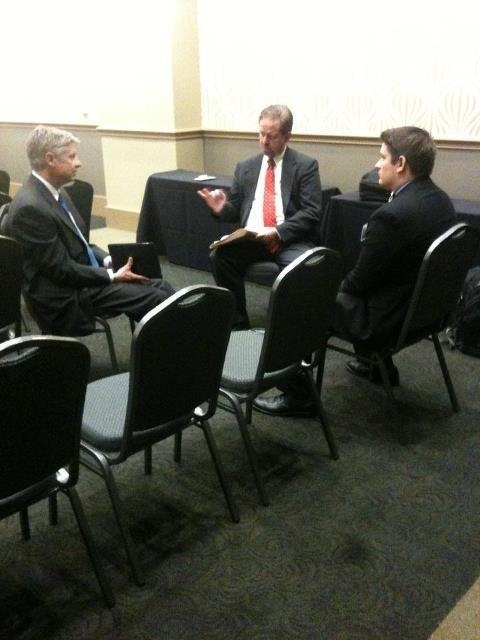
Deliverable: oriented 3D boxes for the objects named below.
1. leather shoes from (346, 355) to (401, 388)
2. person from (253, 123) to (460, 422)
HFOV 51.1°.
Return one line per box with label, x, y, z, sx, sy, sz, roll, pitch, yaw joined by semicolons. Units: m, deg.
leather shoes;0.590;0.235;2.236;0.077;0.134;0.215;-17;29;-28
person;0.469;-0.191;2.150;0.711;1.176;0.533;2;21;10
